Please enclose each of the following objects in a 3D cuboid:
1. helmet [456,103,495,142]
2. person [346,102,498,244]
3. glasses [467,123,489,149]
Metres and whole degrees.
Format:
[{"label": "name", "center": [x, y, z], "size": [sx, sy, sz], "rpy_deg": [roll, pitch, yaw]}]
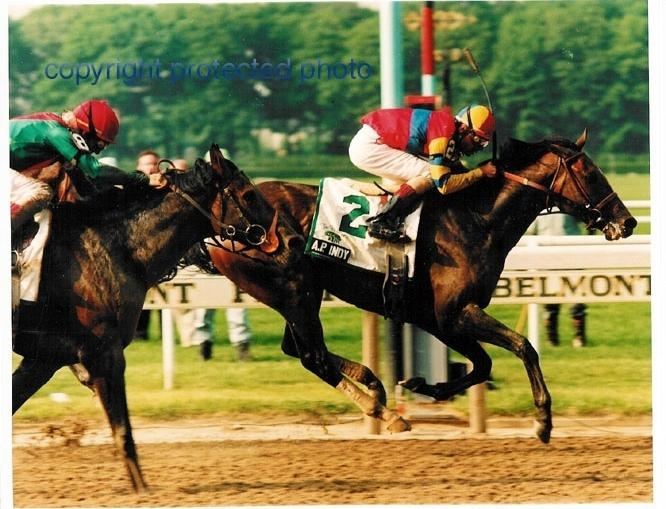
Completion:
[{"label": "helmet", "center": [1.243, -1.162, 11.230], "size": [0.361, 0.252, 0.254], "rpy_deg": [26, 14, 0]}, {"label": "person", "center": [0.736, -0.762, 11.498], "size": [1.327, 1.169, 0.844], "rpy_deg": [10, 7, -2]}, {"label": "glasses", "center": [1.247, -1.024, 11.262], "size": [0.154, 0.189, 0.103], "rpy_deg": [-6, -32, -33]}]
